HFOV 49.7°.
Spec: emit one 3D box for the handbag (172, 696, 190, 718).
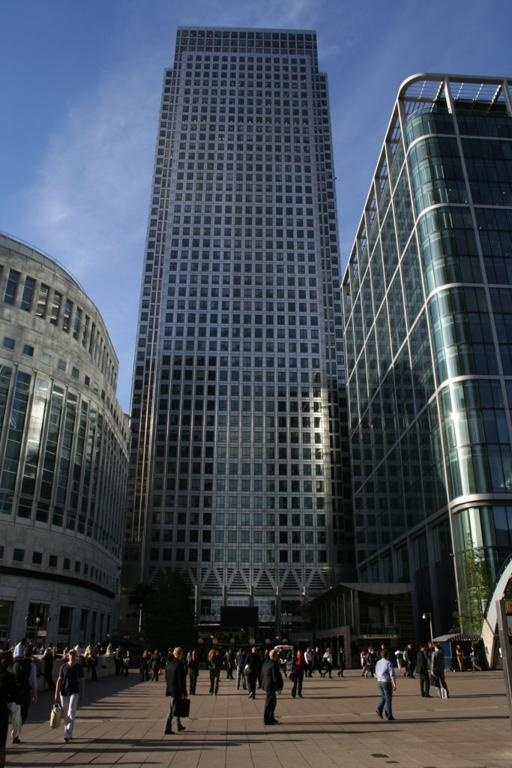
[{"bbox_3d":[-1.331,5.734,9.846,0.261,0.316,0.494,2,-21,-8],"label":"handbag"}]
